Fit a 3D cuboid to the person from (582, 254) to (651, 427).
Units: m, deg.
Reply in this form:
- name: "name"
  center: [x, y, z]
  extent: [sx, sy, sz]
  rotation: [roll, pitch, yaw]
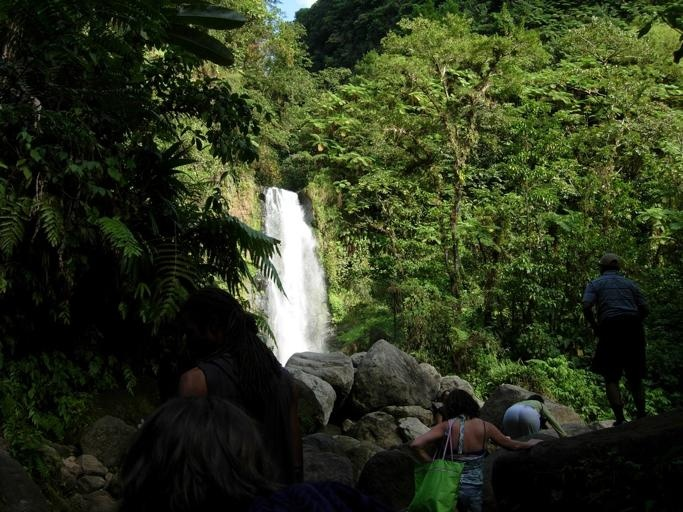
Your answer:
- name: "person"
  center: [3.115, 0.867, 6.319]
  extent: [0.633, 1.916, 0.747]
  rotation: [-15, -17, 40]
